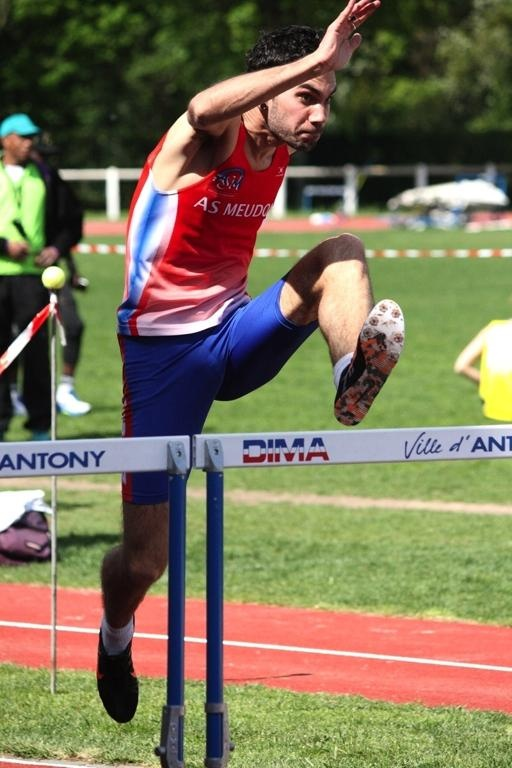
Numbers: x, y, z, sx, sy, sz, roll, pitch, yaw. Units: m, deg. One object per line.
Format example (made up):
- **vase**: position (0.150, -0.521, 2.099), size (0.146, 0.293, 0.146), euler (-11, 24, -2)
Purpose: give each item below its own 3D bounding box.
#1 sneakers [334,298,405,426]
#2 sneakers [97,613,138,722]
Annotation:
- **sneakers**: position (0.244, -0.029, 2.747), size (0.115, 0.333, 0.133), euler (23, 24, -2)
- **sneakers**: position (-0.368, 0.780, 3.294), size (0.080, 0.239, 0.095), euler (-9, -3, 1)
